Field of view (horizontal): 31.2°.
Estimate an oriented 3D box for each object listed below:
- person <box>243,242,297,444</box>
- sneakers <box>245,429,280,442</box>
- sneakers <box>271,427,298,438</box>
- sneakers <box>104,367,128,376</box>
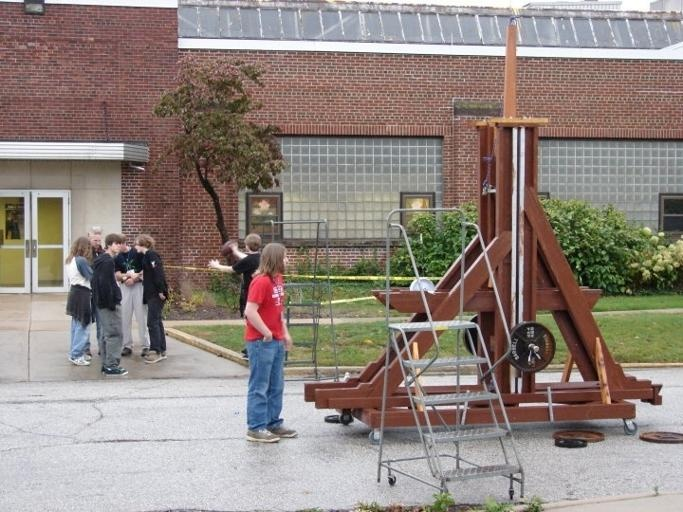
[{"bbox_3d":[-1.226,1.442,20.305,0.766,3.184,0.912,0,13,-2],"label":"person"},{"bbox_3d":[-1.323,2.942,20.242,0.512,0.239,0.210,1,1,5],"label":"sneakers"},{"bbox_3d":[-0.965,2.932,20.532,0.462,0.218,0.170,0,1,-6],"label":"sneakers"},{"bbox_3d":[-4.414,2.242,23.878,0.492,0.231,0.174,0,2,-10],"label":"sneakers"}]
